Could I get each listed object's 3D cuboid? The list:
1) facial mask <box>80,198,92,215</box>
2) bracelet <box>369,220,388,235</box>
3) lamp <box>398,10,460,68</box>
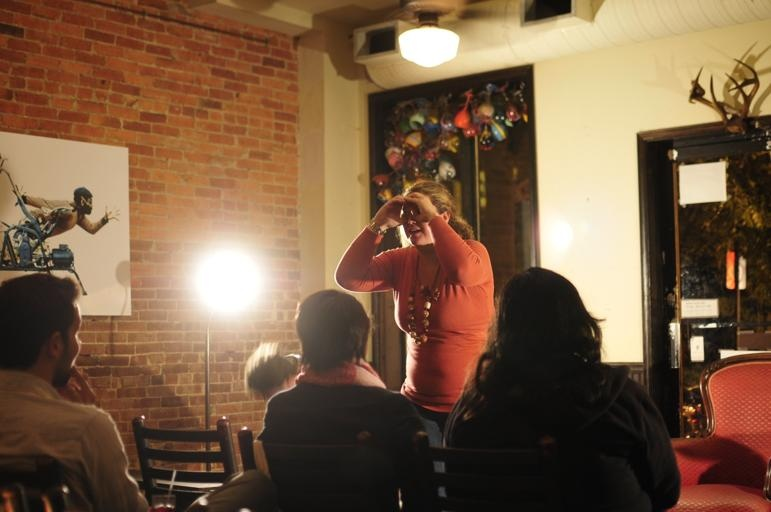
[{"bbox_3d":[-2.151,-0.366,5.068,0.089,0.107,0.109,5,1,41],"label":"facial mask"},{"bbox_3d":[-0.039,-0.158,3.872,0.089,0.066,0.071,-2,4,-20],"label":"bracelet"},{"bbox_3d":[0.313,-1.603,5.464,0.419,0.336,0.450,0,-7,-1],"label":"lamp"}]
